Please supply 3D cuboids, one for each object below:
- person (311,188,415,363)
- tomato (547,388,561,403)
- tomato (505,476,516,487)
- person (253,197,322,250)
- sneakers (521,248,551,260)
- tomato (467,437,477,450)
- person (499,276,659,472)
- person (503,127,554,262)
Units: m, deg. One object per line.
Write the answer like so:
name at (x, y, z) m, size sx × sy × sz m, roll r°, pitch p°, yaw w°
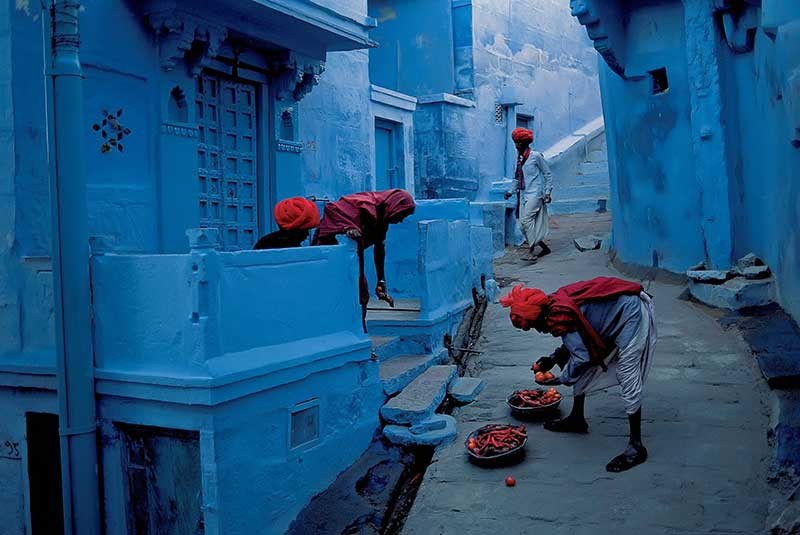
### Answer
person at (-0.508, -0.121, 8.223) m, size 1.354 × 1.787 × 1.083 m, roll 4°, pitch -12°, yaw -10°
tomato at (1.801, 1.497, 7.787) m, size 0.103 × 0.058 × 0.129 m, roll 11°, pitch 9°, yaw -12°
tomato at (1.109, 2.155, 6.698) m, size 0.081 × 0.073 × 0.096 m, roll 1°, pitch -4°, yaw -26°
person at (-1.334, -0.402, 7.683) m, size 0.611 × 0.766 × 0.450 m, roll -3°, pitch 29°, yaw -31°
sneakers at (2.741, -0.267, 13.529) m, size 0.599 × 0.148 × 0.219 m, roll -11°, pitch -1°, yaw -43°
tomato at (0.770, 1.896, 7.148) m, size 0.100 × 0.092 × 0.161 m, roll -7°, pitch 2°, yaw 5°
person at (1.999, 1.083, 6.938) m, size 1.327 × 1.481 × 0.658 m, roll -6°, pitch 3°, yaw 16°
person at (2.636, -1.513, 13.429) m, size 0.803 × 2.096 × 0.970 m, roll -7°, pitch 2°, yaw 3°
